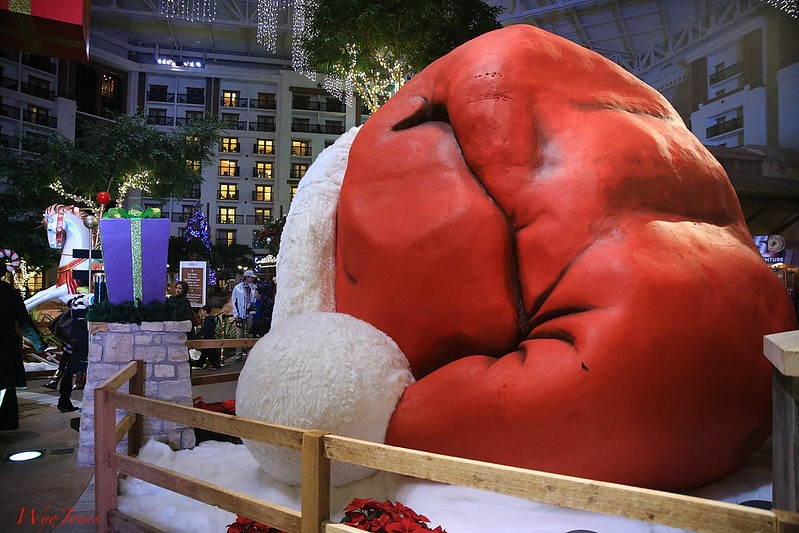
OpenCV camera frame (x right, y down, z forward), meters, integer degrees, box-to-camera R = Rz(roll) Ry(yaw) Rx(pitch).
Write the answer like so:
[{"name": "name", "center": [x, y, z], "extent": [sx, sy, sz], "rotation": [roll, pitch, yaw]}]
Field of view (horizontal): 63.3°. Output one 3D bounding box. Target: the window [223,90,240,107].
[{"name": "window", "center": [-9.281, -9.273, 35.775], "extent": [0.843, 0.836, 0.121], "rotation": [1, 2, -19]}]

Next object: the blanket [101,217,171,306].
[{"name": "blanket", "center": [-3.295, -0.064, 8.099], "extent": [0.778, 1.073, 0.391], "rotation": [0, 2, -23]}]

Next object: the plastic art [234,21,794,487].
[{"name": "plastic art", "center": [1.008, 0.106, 7.861], "extent": [5.389, 4.170, 4.025], "rotation": [-17, -4, -8]}]

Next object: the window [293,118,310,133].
[{"name": "window", "center": [-5.527, -7.883, 36.398], "extent": [0.900, 0.869, 0.129], "rotation": [2, -22, -12]}]

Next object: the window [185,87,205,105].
[{"name": "window", "center": [-11.092, -9.267, 35.559], "extent": [1.163, 1.155, 0.783], "rotation": [1, 0, -17]}]

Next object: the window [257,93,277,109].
[{"name": "window", "center": [-7.391, -9.225, 36.295], "extent": [1.007, 1.020, 0.819], "rotation": [1, -3, -19]}]

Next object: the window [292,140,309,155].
[{"name": "window", "center": [-5.562, -6.632, 36.410], "extent": [0.781, 0.699, 0.090], "rotation": [3, 11, 2]}]
